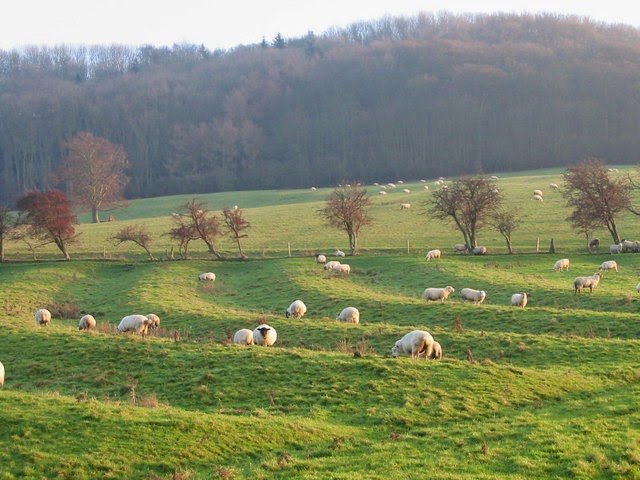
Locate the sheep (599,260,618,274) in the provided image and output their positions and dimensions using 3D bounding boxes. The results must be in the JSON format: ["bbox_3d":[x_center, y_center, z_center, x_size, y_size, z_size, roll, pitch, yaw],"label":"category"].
[{"bbox_3d":[45.454,4.001,156.544,4.170,1.539,2.475,-6,5,-34],"label":"sheep"}]

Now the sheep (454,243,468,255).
[{"bbox_3d":[23.936,1.401,169.673,2.226,1.379,1.953,-2,4,15],"label":"sheep"}]

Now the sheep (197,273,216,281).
[{"bbox_3d":[-18.086,5.888,159.324,1.439,0.995,2.015,2,-1,-24],"label":"sheep"}]
